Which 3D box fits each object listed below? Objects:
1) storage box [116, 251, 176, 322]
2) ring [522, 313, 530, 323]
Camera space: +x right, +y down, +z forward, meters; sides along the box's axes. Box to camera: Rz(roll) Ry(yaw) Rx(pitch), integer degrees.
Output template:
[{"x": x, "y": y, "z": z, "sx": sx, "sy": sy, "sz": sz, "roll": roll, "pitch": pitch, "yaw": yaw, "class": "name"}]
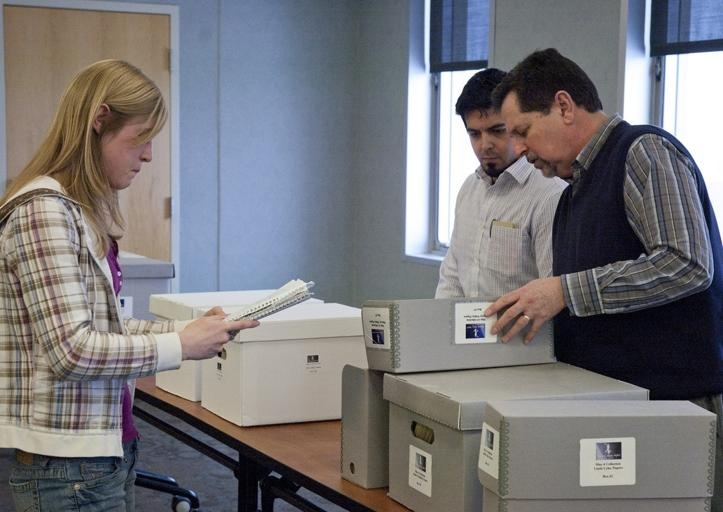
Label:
[{"x": -1.021, "y": 0.149, "z": 3.531, "sx": 0.197, "sy": 0.272, "sz": 0.377, "roll": 4, "pitch": 3, "yaw": 43, "class": "storage box"}, {"x": 0.417, "y": 0.156, "z": 1.896, "sx": 0.018, "sy": 0.024, "sz": 0.020, "roll": -1, "pitch": 10, "yaw": 0, "class": "ring"}]
